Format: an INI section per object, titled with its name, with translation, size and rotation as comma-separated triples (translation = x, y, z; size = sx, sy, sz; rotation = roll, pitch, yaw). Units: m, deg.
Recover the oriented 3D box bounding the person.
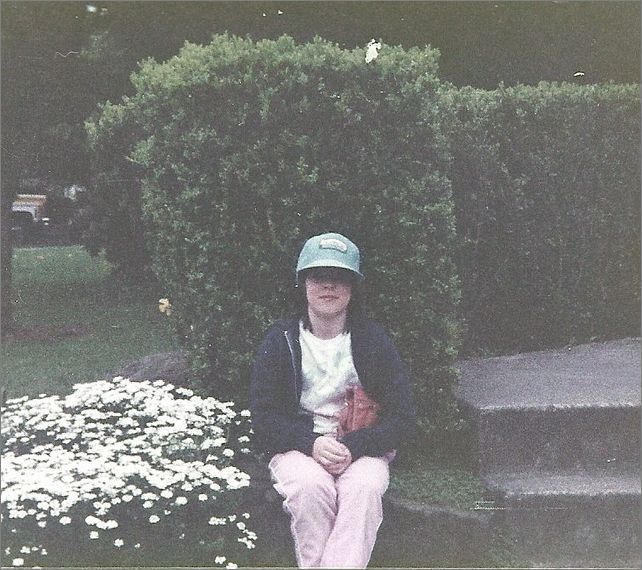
[person]
translation = 0.071, 0.688, 9.340
size = 0.990, 1.982, 0.374
rotation = -1, 8, 0
